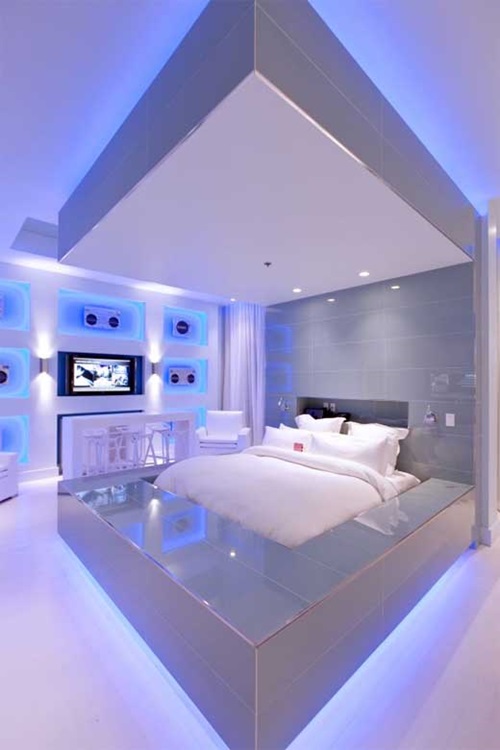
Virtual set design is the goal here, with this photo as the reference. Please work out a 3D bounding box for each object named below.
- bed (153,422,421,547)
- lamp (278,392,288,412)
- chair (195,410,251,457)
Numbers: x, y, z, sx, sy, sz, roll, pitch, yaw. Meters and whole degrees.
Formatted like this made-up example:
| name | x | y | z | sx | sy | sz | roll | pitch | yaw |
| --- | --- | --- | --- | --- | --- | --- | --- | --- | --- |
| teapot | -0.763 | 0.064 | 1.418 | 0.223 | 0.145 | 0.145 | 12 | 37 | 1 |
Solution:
| name | x | y | z | sx | sy | sz | roll | pitch | yaw |
| --- | --- | --- | --- | --- | --- | --- | --- | --- | --- |
| bed | 0.259 | 0.616 | 3.120 | 1.409 | 0.319 | 1.655 | 5 | 7 | 44 |
| lamp | 0.311 | 0.274 | 4.568 | 0.100 | 0.146 | 0.098 | -8 | 15 | -42 |
| chair | -0.319 | 0.691 | 5.474 | 0.526 | 0.544 | 0.434 | -1 | -7 | 8 |
